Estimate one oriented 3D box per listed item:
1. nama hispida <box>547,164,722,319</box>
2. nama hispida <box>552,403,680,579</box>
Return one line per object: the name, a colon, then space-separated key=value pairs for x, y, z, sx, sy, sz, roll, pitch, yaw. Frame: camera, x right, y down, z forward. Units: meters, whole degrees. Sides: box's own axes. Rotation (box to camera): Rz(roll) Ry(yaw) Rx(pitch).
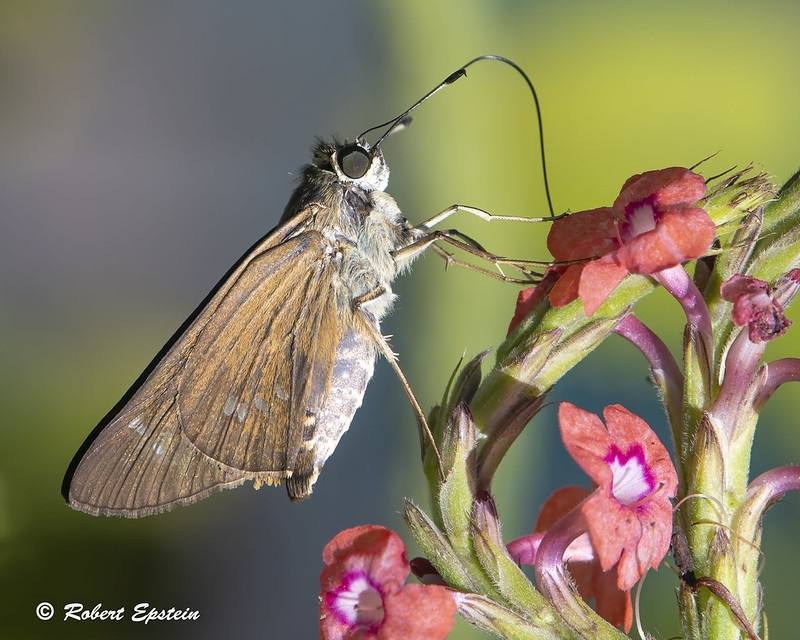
nama hispida: x=0.557 y=-0.204 z=2.318 sx=0.362 sy=0.126 sz=0.374 roll=-40 pitch=13 yaw=12
nama hispida: x=0.535 y=0.393 z=2.260 sx=0.128 sy=0.406 sz=0.375 roll=-14 pitch=-21 yaw=23
